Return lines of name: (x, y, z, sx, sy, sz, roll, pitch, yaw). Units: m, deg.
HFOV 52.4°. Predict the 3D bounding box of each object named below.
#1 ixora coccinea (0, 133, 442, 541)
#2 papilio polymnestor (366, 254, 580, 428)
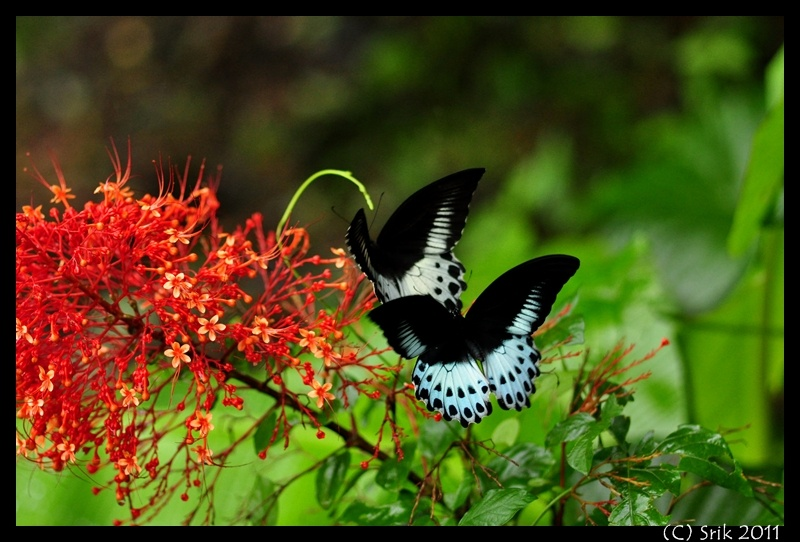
ixora coccinea: (-0.499, 0.129, 1.911, 0.954, 0.594, 0.783, 23, 20, 19)
papilio polymnestor: (0.149, 0.158, 1.790, 0.333, 0.251, 0.036, -26, 7, -5)
